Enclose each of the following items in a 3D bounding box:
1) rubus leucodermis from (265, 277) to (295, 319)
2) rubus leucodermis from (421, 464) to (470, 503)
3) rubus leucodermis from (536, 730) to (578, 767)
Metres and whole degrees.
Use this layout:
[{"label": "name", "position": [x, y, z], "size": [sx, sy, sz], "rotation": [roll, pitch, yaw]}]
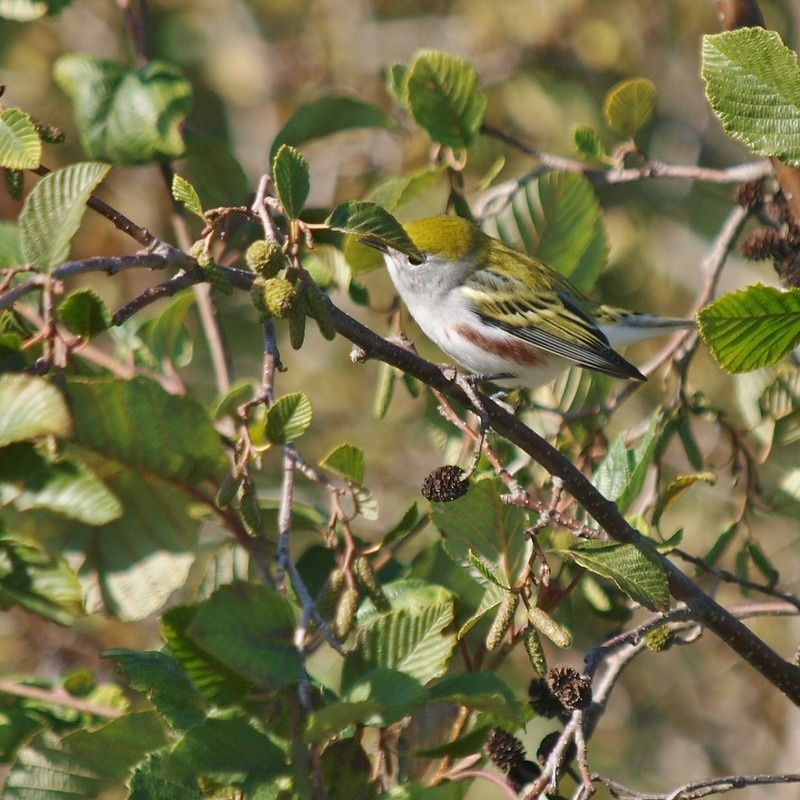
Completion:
[{"label": "rubus leucodermis", "position": [-0.328, -0.278, 3.714], "size": [0.077, 0.090, 0.107], "rotation": [7, 61, -1]}, {"label": "rubus leucodermis", "position": [0.142, 0.268, 4.316], "size": [0.142, 0.096, 0.096], "rotation": [-8, 66, -18]}, {"label": "rubus leucodermis", "position": [0.467, 1.049, 4.116], "size": [0.103, 0.035, 0.138], "rotation": [0, 76, 43]}]
